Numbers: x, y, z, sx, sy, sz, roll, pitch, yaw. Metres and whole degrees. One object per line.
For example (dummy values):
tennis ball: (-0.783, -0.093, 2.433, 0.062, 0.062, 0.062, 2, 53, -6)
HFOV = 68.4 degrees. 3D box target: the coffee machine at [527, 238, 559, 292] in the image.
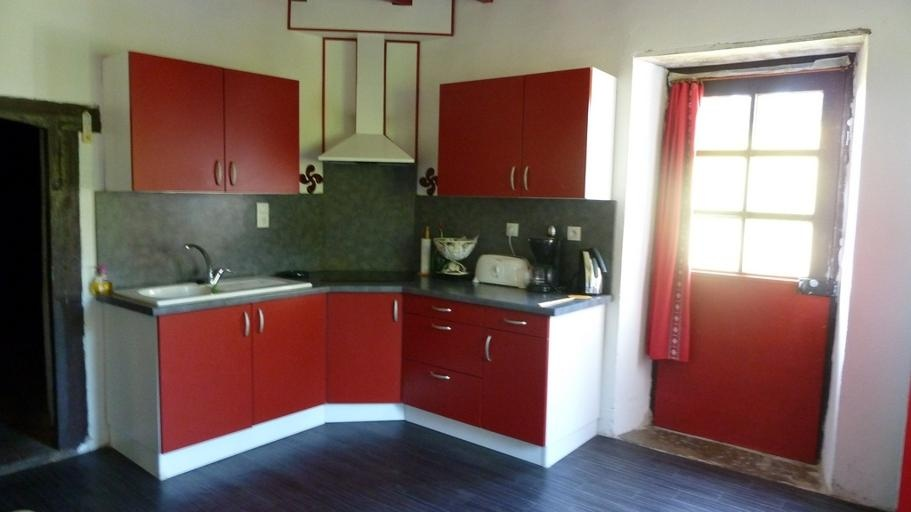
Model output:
coffee machine: (0.780, 0.066, 5.927, 0.257, 0.464, 0.221, 1, 10, 2)

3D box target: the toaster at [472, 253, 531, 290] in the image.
toaster: (0.455, 0.130, 6.175, 0.588, 0.260, 0.219, 6, 7, 33)

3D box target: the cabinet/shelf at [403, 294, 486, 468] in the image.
cabinet/shelf: (-0.373, 1.099, 6.106, 1.042, 1.083, 0.903, 15, -33, -26)

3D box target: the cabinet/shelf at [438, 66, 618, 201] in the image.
cabinet/shelf: (0.679, -1.050, 5.789, 1.299, 0.837, 0.499, 3, 3, 30)

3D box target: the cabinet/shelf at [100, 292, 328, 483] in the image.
cabinet/shelf: (-2.118, 1.041, 6.049, 1.013, 1.321, 1.721, 3, 4, 33)

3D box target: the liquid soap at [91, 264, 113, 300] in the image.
liquid soap: (-2.955, 0.216, 5.621, 0.177, 0.267, 0.189, -4, -2, -34)

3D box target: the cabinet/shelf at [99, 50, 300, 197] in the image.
cabinet/shelf: (-2.235, -1.110, 5.962, 0.618, 1.078, 1.673, 7, 8, 35)

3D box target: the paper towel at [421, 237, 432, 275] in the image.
paper towel: (-0.284, 0.008, 6.488, 0.112, 0.347, 0.090, 0, 1, -27)

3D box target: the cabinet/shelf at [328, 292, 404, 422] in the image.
cabinet/shelf: (-0.733, 0.862, 6.388, 0.975, 1.320, 0.924, 0, -2, -13)
